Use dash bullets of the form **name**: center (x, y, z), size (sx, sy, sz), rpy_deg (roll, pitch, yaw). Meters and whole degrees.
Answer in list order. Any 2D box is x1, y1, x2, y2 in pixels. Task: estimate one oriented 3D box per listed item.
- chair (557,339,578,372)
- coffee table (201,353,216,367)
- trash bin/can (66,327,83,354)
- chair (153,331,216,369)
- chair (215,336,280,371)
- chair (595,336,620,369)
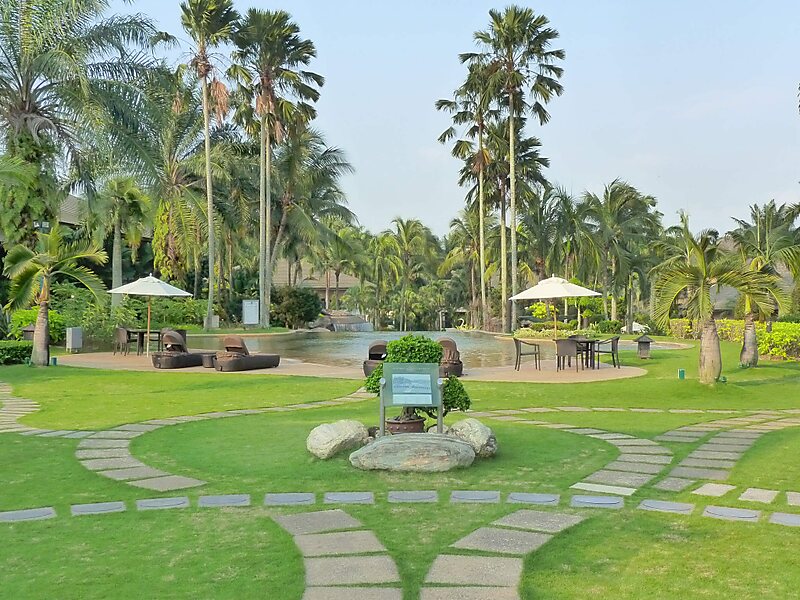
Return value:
- **chair**: center (5.034, 1.665, 20.473), size (0.571, 0.891, 3.316), rpy_deg (0, -5, 13)
- **coffee table**: center (-5.737, 1.827, 20.262), size (0.422, 0.317, 0.430), rpy_deg (1, -2, -2)
- **trash bin/can**: center (-11.977, 1.467, 24.861), size (0.506, 0.893, 0.560), rpy_deg (4, -6, -29)
- **chair**: center (-6.571, 1.478, 20.451), size (1.668, 1.179, 1.091), rpy_deg (3, -5, -21)
- **chair**: center (-4.599, 1.689, 19.874), size (1.208, 0.766, 1.217), rpy_deg (-1, 1, -21)
- **chair**: center (6.757, 1.764, 22.118), size (0.896, 1.277, 0.973), rpy_deg (1, 0, 27)
